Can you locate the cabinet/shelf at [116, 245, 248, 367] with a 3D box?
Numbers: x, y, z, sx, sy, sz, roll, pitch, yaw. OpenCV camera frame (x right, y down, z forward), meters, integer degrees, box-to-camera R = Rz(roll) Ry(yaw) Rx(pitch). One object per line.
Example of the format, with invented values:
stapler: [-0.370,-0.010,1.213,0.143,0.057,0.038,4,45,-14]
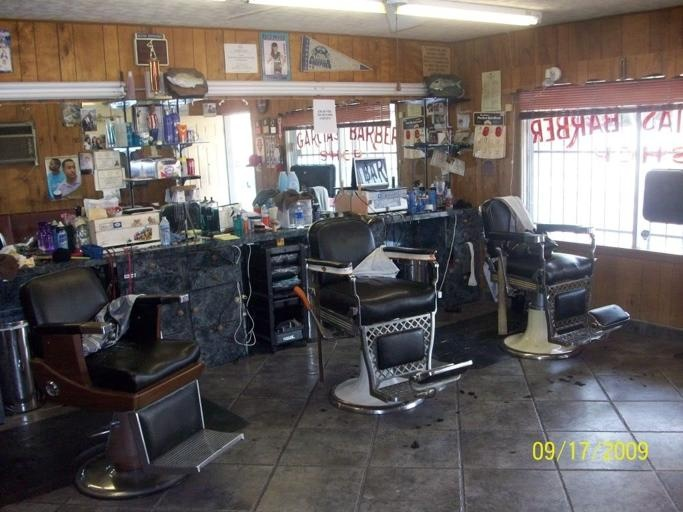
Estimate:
cabinet/shelf: [-1.181,0.338,4.021,0.837,0.840,0.473,-12,15,-42]

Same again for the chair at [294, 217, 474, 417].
chair: [0.317,0.397,3.879,0.784,1.269,1.187,-9,10,-36]

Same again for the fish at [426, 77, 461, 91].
fish: [1.082,-1.806,5.835,0.242,0.163,0.081,-6,6,-27]

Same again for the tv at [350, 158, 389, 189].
tv: [0.280,-0.799,5.386,0.323,0.226,0.110,-8,4,-37]

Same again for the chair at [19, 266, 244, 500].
chair: [-1.199,0.703,3.204,1.092,1.182,0.808,2,8,16]

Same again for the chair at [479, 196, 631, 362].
chair: [1.746,0.143,4.687,0.891,1.243,1.009,-9,14,-13]

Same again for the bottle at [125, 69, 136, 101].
bottle: [-1.720,-1.394,4.499,0.082,0.233,0.099,-8,13,-8]

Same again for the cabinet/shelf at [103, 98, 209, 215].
cabinet/shelf: [-1.581,-0.838,4.610,0.920,1.145,0.297,-8,8,-34]

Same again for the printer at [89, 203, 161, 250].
printer: [-1.649,-0.155,4.405,0.479,0.231,0.270,-8,-15,-9]

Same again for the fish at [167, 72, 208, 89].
fish: [-1.289,-1.472,4.608,0.315,0.131,0.038,-13,15,-30]

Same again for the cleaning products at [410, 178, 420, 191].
cleaning products: [0.784,-0.767,5.920,0.151,0.166,0.101,4,3,4]
